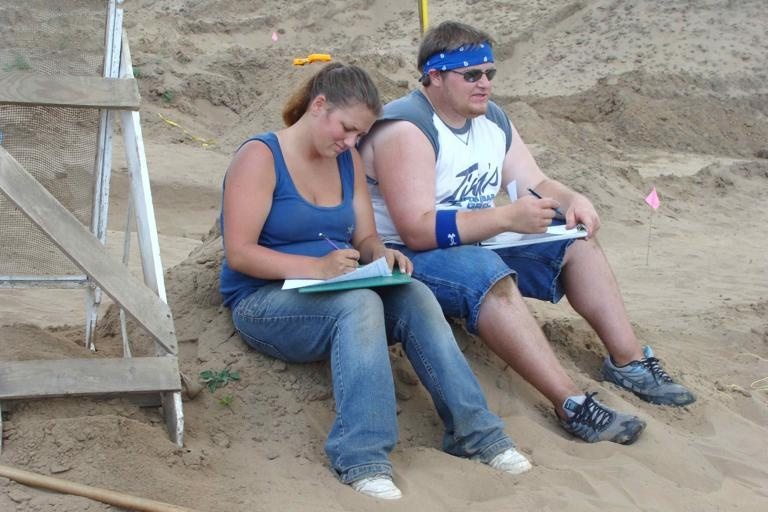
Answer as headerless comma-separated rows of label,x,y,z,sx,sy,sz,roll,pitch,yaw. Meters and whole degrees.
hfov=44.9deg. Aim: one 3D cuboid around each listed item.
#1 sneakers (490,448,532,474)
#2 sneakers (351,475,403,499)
sneakers,0.845,1.370,6.198,0.260,0.102,0.140,2,21,-8
sneakers,-0.034,1.456,5.963,0.272,0.107,0.149,6,16,14
